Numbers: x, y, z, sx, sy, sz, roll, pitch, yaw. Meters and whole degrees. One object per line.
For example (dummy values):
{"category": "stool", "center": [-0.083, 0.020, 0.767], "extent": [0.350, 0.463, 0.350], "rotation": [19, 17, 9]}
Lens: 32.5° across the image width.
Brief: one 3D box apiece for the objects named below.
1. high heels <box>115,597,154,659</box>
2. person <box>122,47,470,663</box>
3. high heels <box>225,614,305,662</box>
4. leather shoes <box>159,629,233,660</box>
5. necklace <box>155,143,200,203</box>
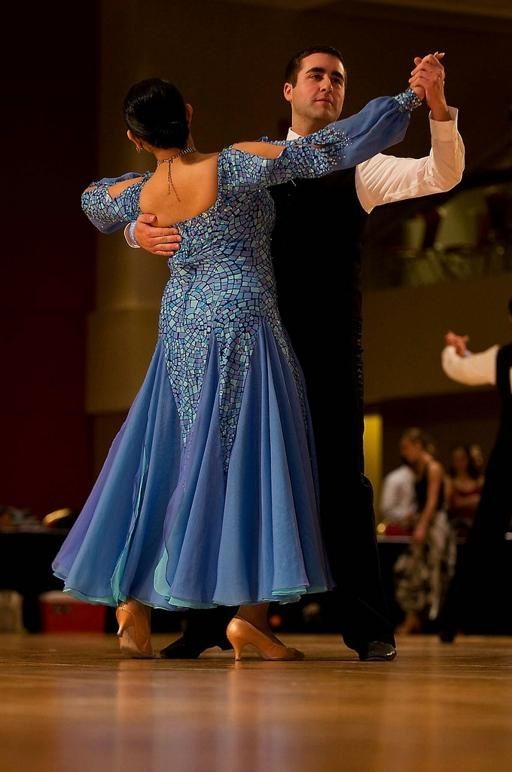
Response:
{"category": "high heels", "center": [-0.306, 0.604, 2.225], "extent": [0.085, 0.149, 0.134], "rotation": [0, 6, -7]}
{"category": "person", "center": [0.128, -0.051, 2.287], "extent": [0.729, 1.719, 0.547], "rotation": [5, 8, 35]}
{"category": "high heels", "center": [0.026, 0.602, 2.085], "extent": [0.181, 0.108, 0.091], "rotation": [-1, 6, -9]}
{"category": "leather shoes", "center": [-0.168, 0.677, 2.319], "extent": [0.207, 0.071, 0.069], "rotation": [2, -10, -16]}
{"category": "necklace", "center": [-0.206, -0.562, 2.285], "extent": [0.040, 0.131, 0.106], "rotation": [-8, 23, -22]}
